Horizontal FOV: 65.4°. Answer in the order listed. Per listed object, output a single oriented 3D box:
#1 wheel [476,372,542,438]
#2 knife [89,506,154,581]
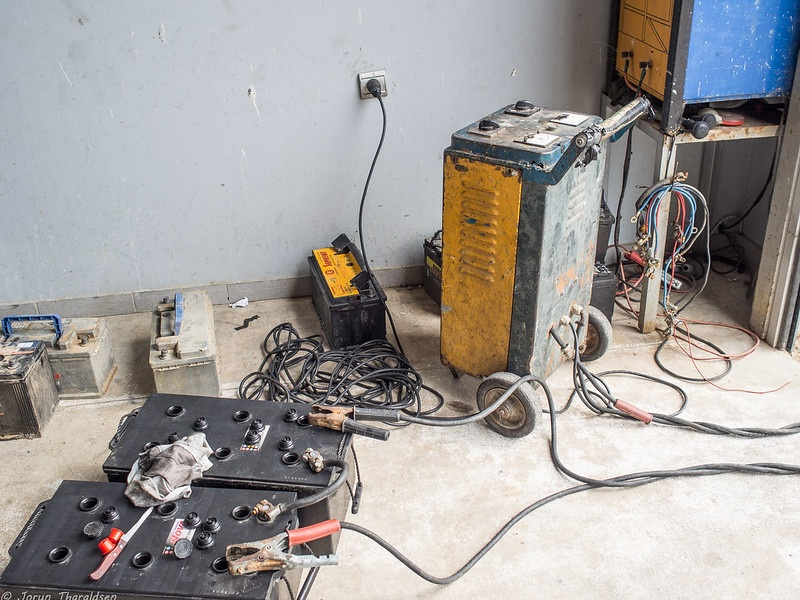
[{"bbox_3d":[0.492,0.481,2.860,0.307,0.330,0.144,15,33,30],"label":"wheel"},{"bbox_3d":[-0.852,0.755,1.931,0.047,0.016,0.284,34,40,-1],"label":"knife"}]
